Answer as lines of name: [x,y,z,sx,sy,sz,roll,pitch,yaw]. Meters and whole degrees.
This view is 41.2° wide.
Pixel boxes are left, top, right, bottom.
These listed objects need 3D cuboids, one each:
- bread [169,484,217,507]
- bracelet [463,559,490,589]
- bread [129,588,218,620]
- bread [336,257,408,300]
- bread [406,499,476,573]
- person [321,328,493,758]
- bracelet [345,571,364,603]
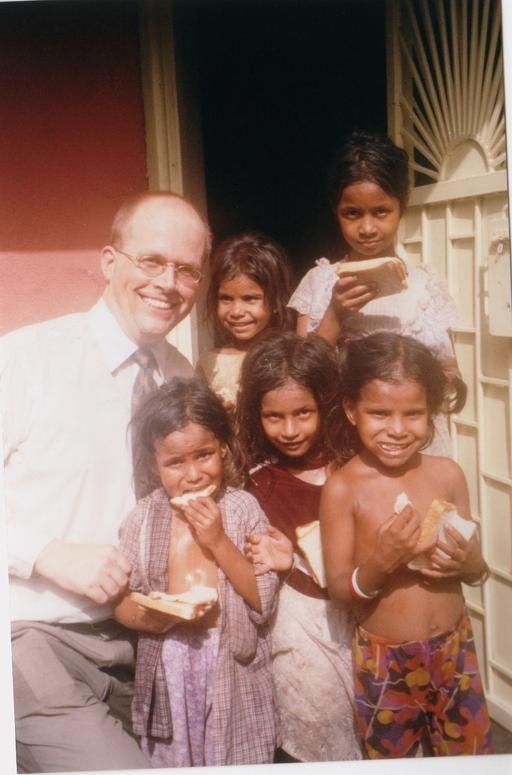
bread: [-0.213,0.370,2.324,0.114,0.034,0.075,-37,16,-3]
bracelet: [0.791,0.679,2.470,0.097,0.090,0.068,-7,-31,32]
bread: [-0.260,0.722,2.306,0.164,0.055,0.158,3,-13,28]
bread: [0.412,-0.377,2.369,0.260,0.135,0.146,-5,13,-2]
bread: [0.645,0.485,2.358,0.245,0.222,0.070,-13,11,-13]
person: [0.515,0.561,2.379,0.554,1.471,0.379,-3,14,11]
bracelet: [0.339,0.675,2.308,0.042,0.088,0.081,-8,6,10]
